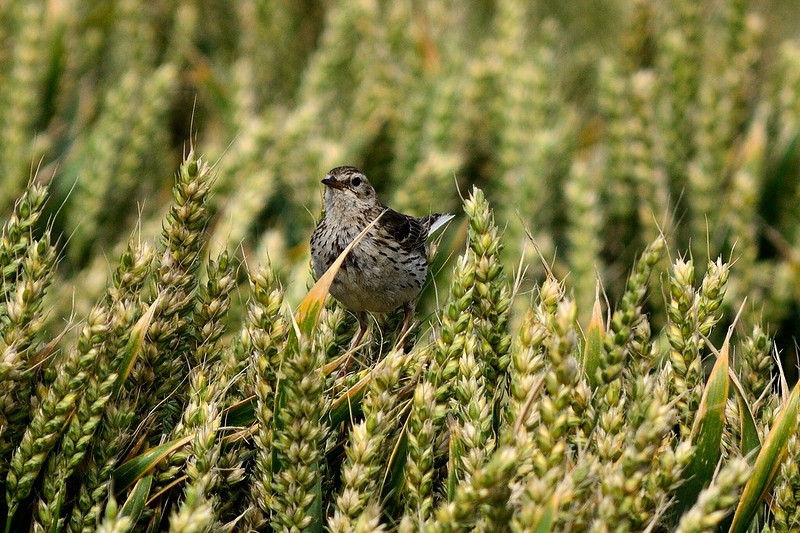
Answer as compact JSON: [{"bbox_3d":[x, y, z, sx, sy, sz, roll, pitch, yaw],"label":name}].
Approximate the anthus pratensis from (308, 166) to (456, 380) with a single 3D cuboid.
[{"bbox_3d":[-0.146,-0.108,4.250,0.454,0.827,1.017,-2,7,27],"label":"anthus pratensis"}]
